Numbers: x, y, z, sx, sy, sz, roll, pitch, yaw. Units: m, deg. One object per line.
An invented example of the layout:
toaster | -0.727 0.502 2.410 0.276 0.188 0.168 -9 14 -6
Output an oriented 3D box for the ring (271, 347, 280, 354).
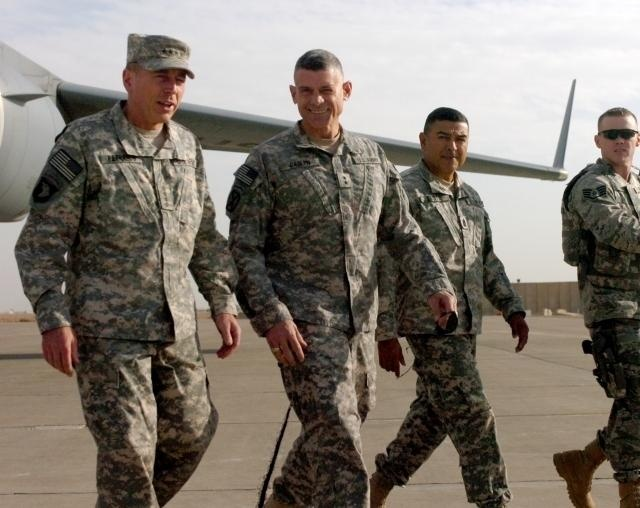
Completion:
ring | -0.215 0.487 4.659 0.069 0.031 0.076 0 -11 0
